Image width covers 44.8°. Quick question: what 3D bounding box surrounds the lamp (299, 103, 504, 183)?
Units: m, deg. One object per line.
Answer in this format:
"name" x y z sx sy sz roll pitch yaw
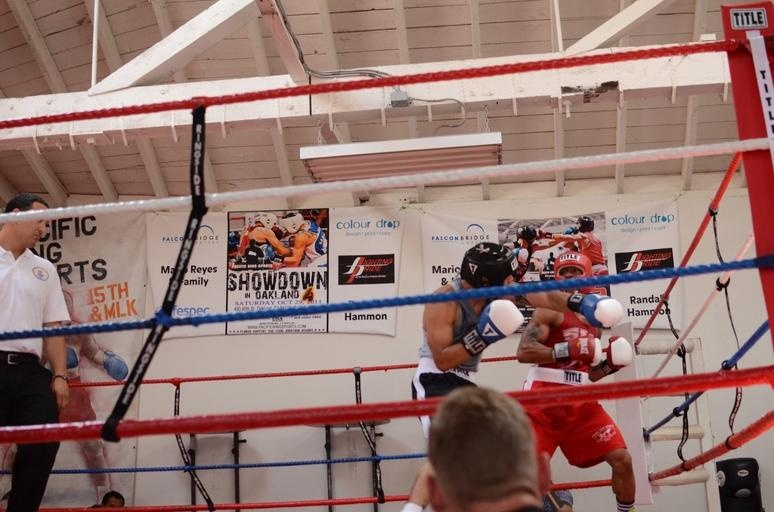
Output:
"lamp" 0.138 -0.869 8.259 1.699 0.268 0.675 -1 -9 6
